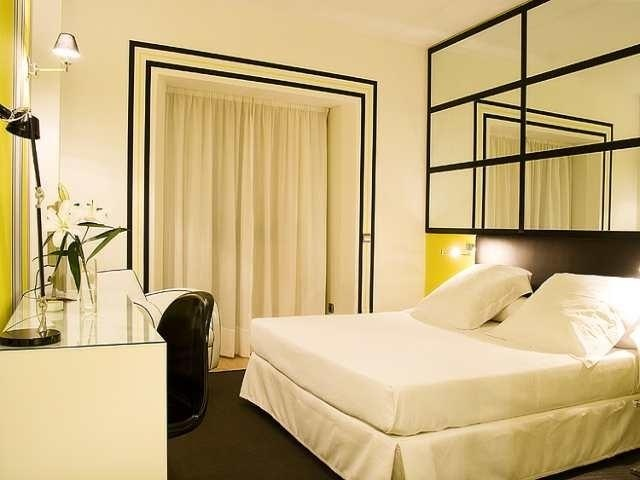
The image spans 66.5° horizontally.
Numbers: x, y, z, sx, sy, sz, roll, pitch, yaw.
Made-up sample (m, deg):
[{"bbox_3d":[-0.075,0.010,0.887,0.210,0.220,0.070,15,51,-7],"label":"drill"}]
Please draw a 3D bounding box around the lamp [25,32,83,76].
[{"bbox_3d":[-1.624,-1.129,2.987,0.279,0.276,0.159,-4,18,-29],"label":"lamp"}]
